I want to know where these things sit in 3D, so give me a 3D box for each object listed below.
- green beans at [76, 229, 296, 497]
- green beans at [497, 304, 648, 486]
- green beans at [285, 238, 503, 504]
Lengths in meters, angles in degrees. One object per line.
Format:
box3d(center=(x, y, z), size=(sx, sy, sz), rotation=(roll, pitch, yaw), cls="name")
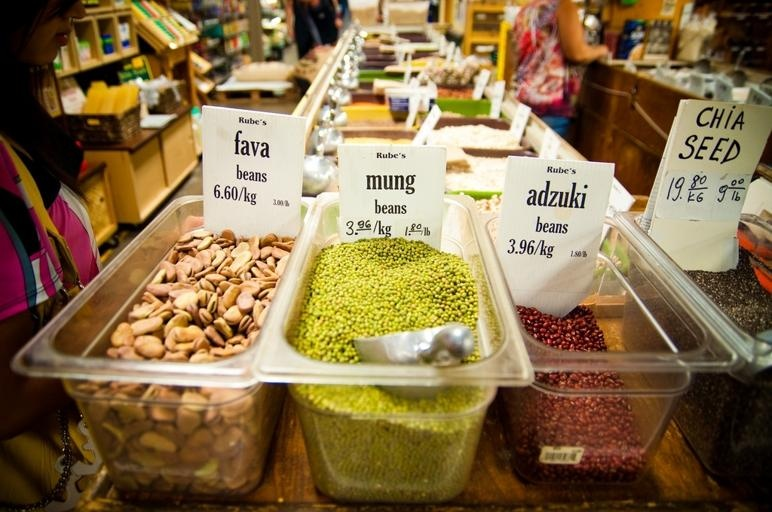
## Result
box3d(center=(-0.532, 0.248, 1.542), size=(0.556, 0.402, 0.886), rotation=(4, 26, -3), cls="green beans")
box3d(center=(0.493, 0.364, 1.346), size=(0.286, 0.157, 0.476), rotation=(1, 40, 3), cls="green beans")
box3d(center=(-0.013, 0.246, 1.443), size=(0.417, 0.319, 0.688), rotation=(2, 31, -3), cls="green beans")
